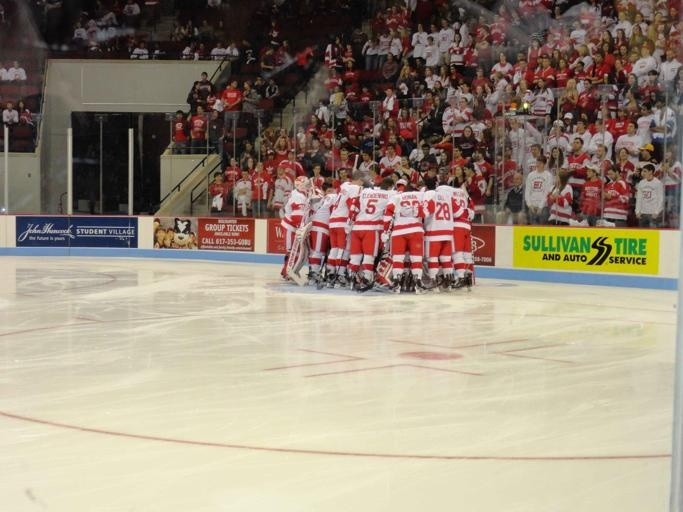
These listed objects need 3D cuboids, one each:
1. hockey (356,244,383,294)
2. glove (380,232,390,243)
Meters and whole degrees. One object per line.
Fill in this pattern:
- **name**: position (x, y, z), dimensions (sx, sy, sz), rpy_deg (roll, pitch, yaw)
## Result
- **hockey**: position (0.581, 0.272, 17.215), dimensions (0.604, 0.774, 0.282), rpy_deg (12, -13, 35)
- **glove**: position (0.747, -0.325, 16.756), dimensions (0.139, 0.213, 0.306), rpy_deg (1, 8, 5)
